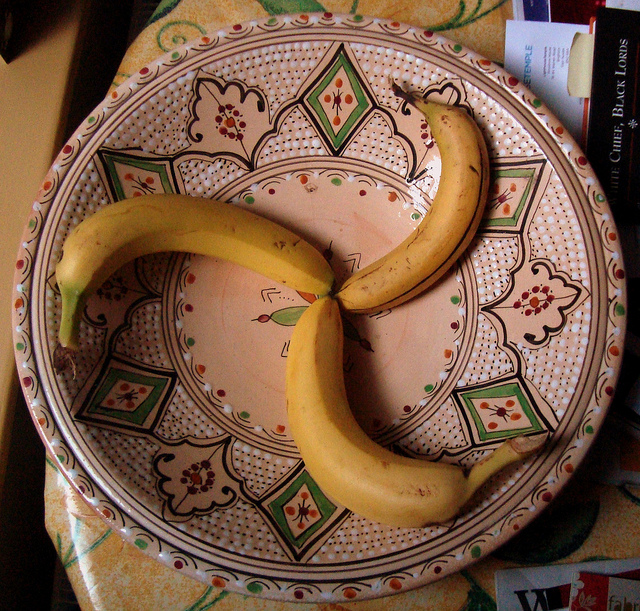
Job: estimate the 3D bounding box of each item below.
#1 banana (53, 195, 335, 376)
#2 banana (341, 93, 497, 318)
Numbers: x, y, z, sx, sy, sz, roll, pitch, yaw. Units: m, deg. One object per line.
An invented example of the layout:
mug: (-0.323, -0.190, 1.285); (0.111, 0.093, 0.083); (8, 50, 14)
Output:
banana: (-0.182, -0.061, 1.093); (0.396, 0.080, 0.202); (-16, 84, -2)
banana: (0.142, -0.120, 1.107); (0.156, 0.058, 0.327); (19, 84, 2)
